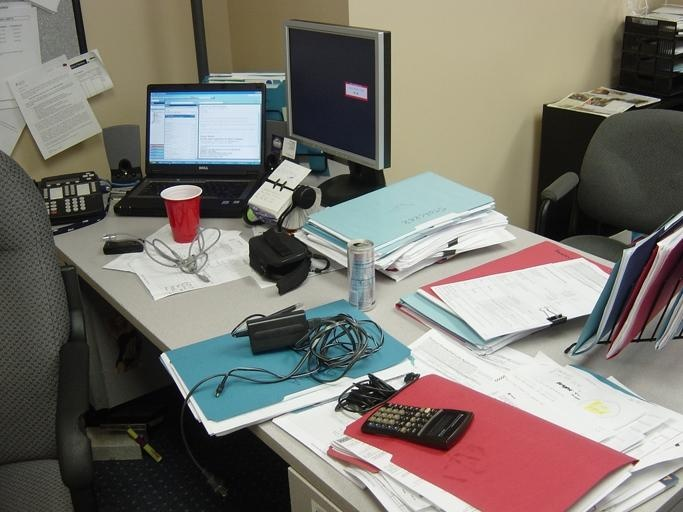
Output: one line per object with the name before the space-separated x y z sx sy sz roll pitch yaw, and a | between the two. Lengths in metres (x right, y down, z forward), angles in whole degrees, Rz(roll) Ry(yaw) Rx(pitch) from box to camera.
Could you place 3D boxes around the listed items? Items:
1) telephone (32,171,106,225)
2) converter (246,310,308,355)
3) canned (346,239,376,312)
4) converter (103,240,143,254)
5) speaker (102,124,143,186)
telephone | -0.897 -0.202 1.820 0.285 0.182 0.243 0 23 -25
converter | -0.141 0.168 1.210 0.138 0.073 0.070 -5 34 -11
canned | 0.050 0.046 1.298 0.078 0.162 0.074 -3 32 -26
converter | -0.654 -0.028 1.588 0.078 0.019 0.057 -3 20 -15
speaker | -0.809 -0.379 1.996 0.138 0.227 0.146 -2 24 -26
